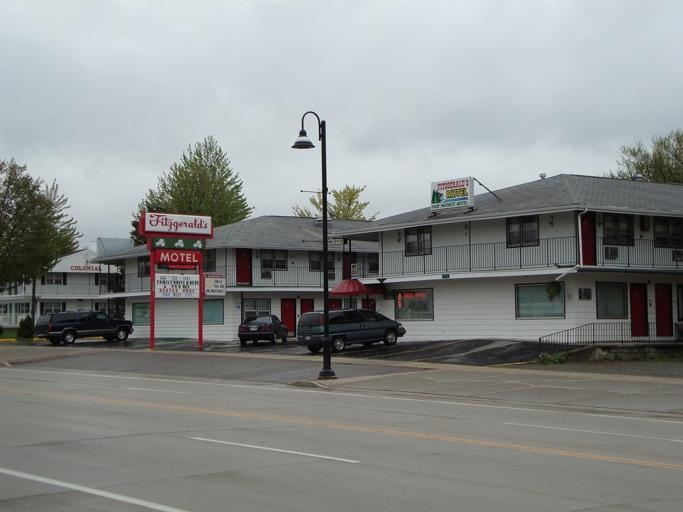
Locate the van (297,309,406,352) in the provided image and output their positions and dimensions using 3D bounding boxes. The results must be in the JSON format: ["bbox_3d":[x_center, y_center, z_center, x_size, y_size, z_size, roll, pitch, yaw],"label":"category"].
[{"bbox_3d":[0.239,3.735,35.409,4.431,1.573,2.313,-5,-1,-38],"label":"van"}]

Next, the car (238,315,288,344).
[{"bbox_3d":[-4.790,4.539,42.083,2.966,1.893,1.365,5,-8,-38],"label":"car"}]
